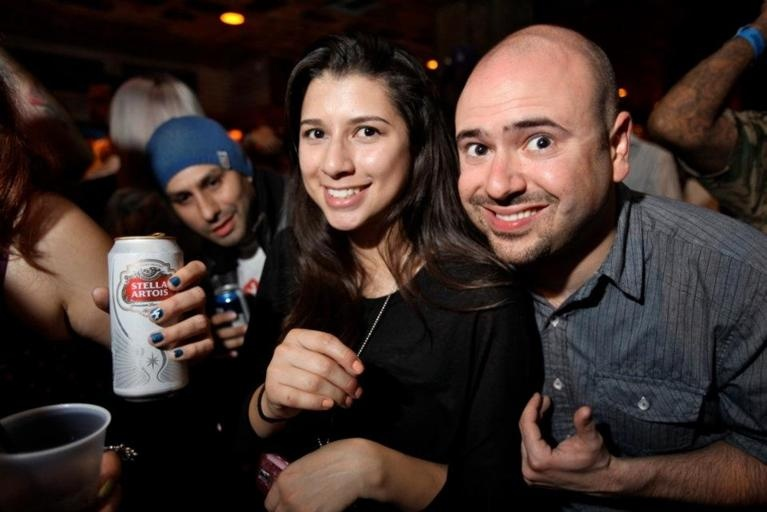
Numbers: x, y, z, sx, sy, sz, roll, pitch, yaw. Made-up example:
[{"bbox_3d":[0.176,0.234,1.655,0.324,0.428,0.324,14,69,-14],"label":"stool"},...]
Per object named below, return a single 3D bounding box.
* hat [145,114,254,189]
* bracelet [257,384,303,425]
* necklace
[{"bbox_3d":[-1.137,-0.605,3.924,0.471,0.487,0.629,-14,-5,7],"label":"hat"},{"bbox_3d":[-0.489,0.674,2.976,0.181,0.177,0.138,-21,-10,-30],"label":"bracelet"},{"bbox_3d":[0.012,0.233,3.091,0.029,0.027,0.632,-8,49,59],"label":"necklace"}]
